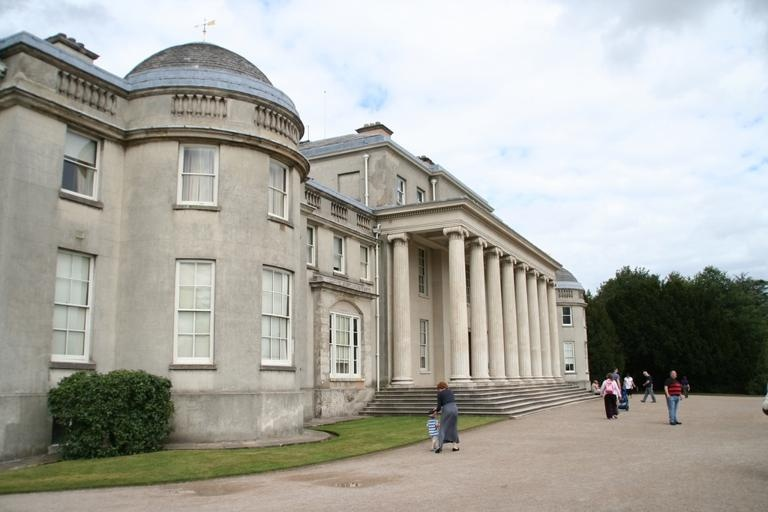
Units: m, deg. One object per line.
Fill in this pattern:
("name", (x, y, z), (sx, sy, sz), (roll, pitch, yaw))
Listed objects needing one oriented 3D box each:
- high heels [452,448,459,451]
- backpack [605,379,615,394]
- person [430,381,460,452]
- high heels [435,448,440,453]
("high heels", (2.081, 5.624, 17.405), (0.076, 0.090, 0.214), (-5, -18, 18))
("backpack", (9.693, 5.648, 25.812), (0.423, 0.467, 0.261), (4, -27, 5))
("person", (1.819, 4.711, 17.673), (0.712, 1.965, 0.703), (2, -14, -11))
("high heels", (1.547, 5.605, 17.288), (0.156, 0.124, 0.183), (-4, -15, 3))
